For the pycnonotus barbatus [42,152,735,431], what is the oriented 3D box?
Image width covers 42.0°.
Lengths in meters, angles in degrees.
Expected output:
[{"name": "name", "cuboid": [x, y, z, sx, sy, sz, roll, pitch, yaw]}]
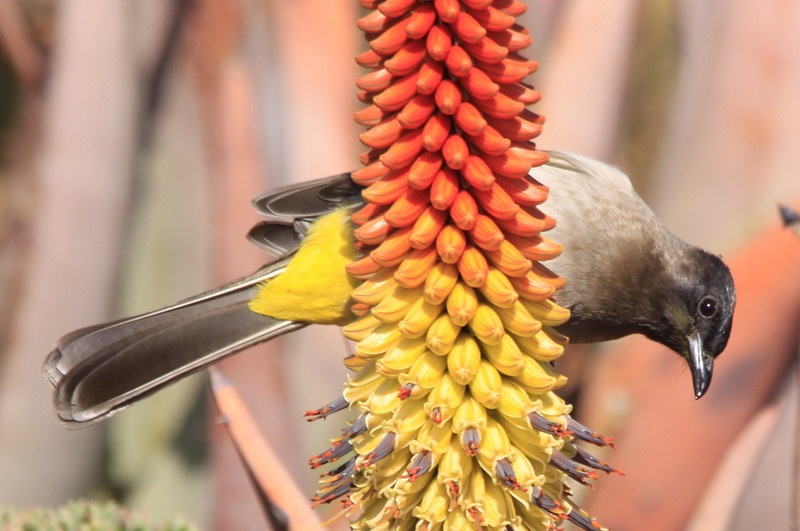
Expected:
[{"name": "pycnonotus barbatus", "cuboid": [0.353, 0.108, 3.811, 2.852, 0.983, 0.805, 3, -2, -3]}]
